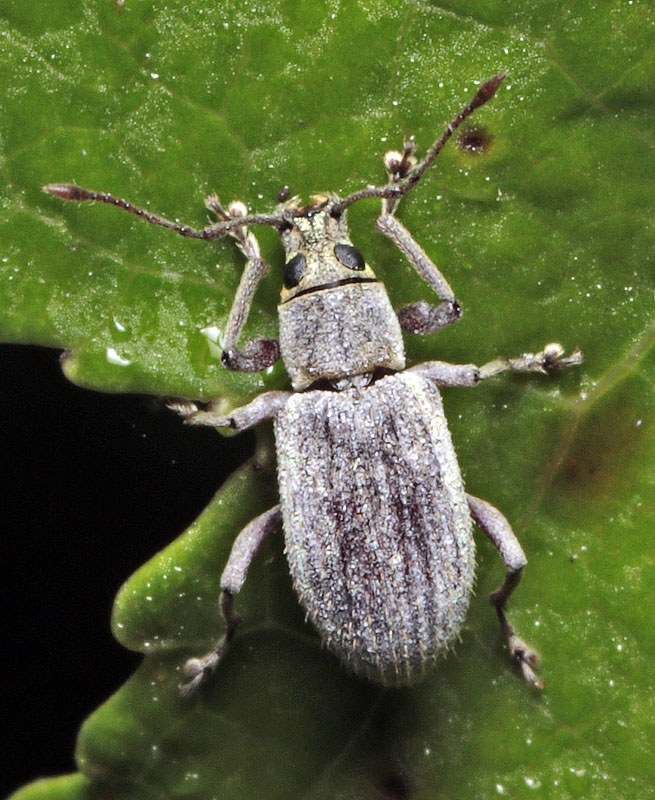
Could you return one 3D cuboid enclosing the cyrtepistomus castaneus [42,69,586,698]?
[{"bbox_3d":[0.223,-0.104,4.836,2.641,0.868,3.009,-13,96,-11],"label":"cyrtepistomus castaneus"}]
